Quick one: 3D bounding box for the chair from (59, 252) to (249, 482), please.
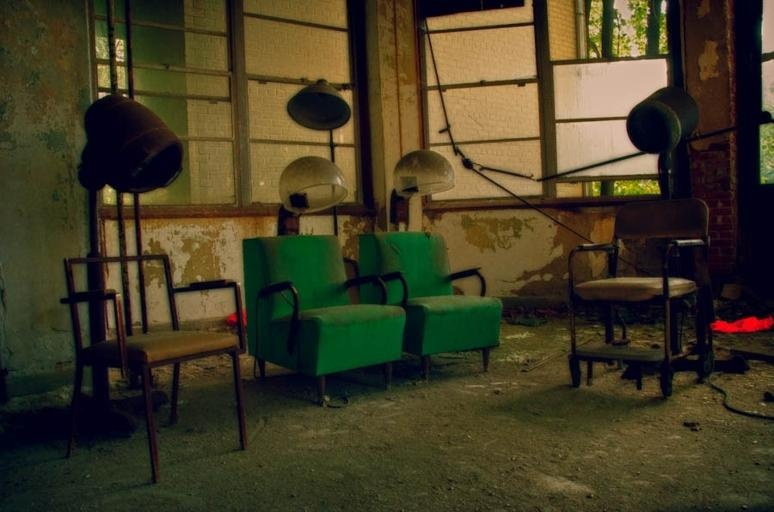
[{"bbox_3d":[-1.633,0.693,4.687,1.166,1.340,1.192,1,2,15],"label":"chair"}]

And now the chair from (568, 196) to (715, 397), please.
[{"bbox_3d":[2.204,0.294,5.642,1.031,1.520,1.382,-4,4,28],"label":"chair"}]
